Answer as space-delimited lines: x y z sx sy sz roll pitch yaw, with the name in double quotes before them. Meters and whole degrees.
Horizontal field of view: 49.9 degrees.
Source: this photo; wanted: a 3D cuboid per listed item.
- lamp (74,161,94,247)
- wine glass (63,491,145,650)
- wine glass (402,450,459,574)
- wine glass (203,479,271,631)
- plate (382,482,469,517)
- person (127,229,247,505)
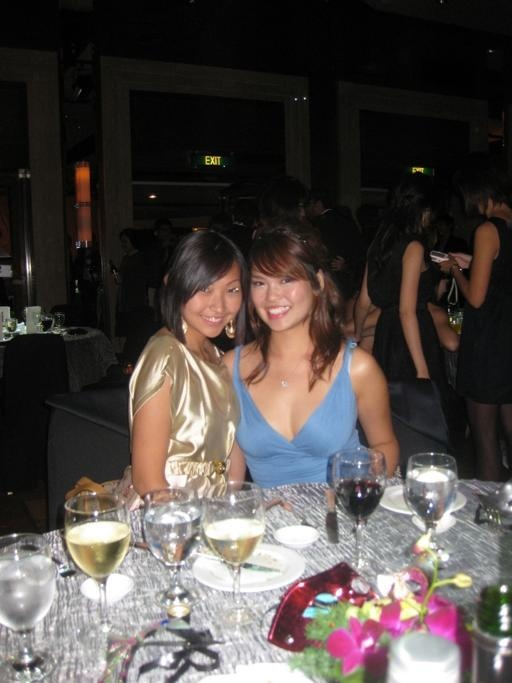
"lamp" -3.292 -2.630 10.528 0.292 1.102 0.817 -4 3 -18
"wine glass" -0.220 0.333 0.787 0.078 0.192 0.083 1 23 0
"wine glass" 0.292 0.291 0.925 0.081 0.207 0.086 -6 23 2
"wine glass" -0.035 0.302 0.863 0.094 0.149 0.274 -3 2 -5
"plate" 0.346 0.337 1.164 0.120 0.016 0.121 0 14 4
"person" -0.192 0.054 1.582 0.271 0.729 0.509 -1 3 36
